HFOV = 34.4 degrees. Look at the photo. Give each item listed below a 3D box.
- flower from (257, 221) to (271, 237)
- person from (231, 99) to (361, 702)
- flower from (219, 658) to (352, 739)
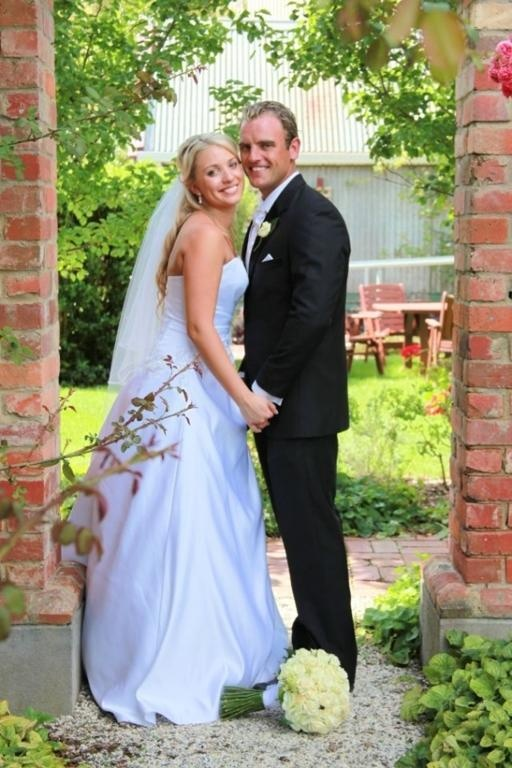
[{"bbox_3d":[0.021,-0.513,2.775,0.026,0.047,0.039,9,16,-37],"label":"flower"},{"bbox_3d":[0.144,0.055,2.822,0.430,1.986,0.544,1,11,-10],"label":"person"},{"bbox_3d":[0.098,0.956,2.602,0.390,0.234,0.202,-1,46,9],"label":"flower"}]
